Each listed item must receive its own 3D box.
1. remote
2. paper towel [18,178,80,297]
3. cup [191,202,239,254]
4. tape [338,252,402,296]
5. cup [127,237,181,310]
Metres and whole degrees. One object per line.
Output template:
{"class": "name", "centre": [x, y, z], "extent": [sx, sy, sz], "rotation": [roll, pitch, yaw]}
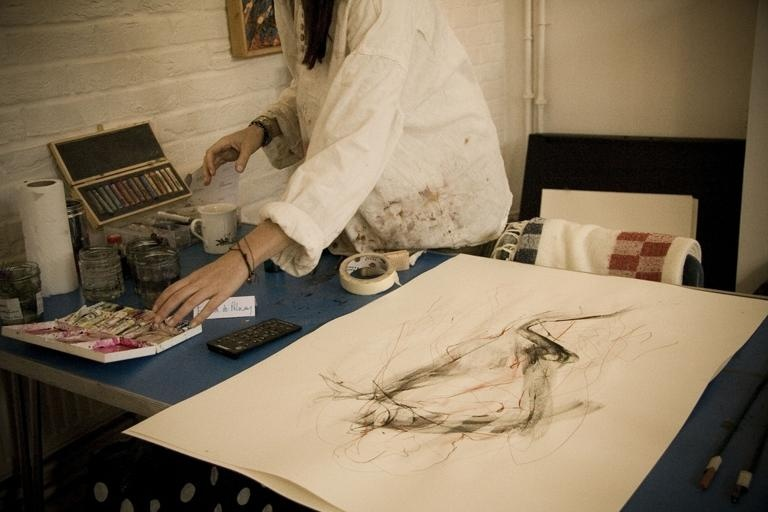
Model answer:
{"class": "remote", "centre": [-0.266, 0.174, 1.070], "extent": [0.119, 0.025, 0.163], "rotation": [10, 20, 41]}
{"class": "paper towel", "centre": [-0.810, -0.048, 1.272], "extent": [0.114, 0.308, 0.116], "rotation": [-8, 22, -43]}
{"class": "cup", "centre": [-0.483, -0.072, 1.474], "extent": [0.097, 0.116, 0.150], "rotation": [14, 27, 28]}
{"class": "tape", "centre": [-0.040, 0.045, 1.255], "extent": [0.166, 0.101, 0.147], "rotation": [-7, 18, -32]}
{"class": "cup", "centre": [-0.543, 0.035, 1.270], "extent": [0.113, 0.186, 0.117], "rotation": [3, 17, -1]}
